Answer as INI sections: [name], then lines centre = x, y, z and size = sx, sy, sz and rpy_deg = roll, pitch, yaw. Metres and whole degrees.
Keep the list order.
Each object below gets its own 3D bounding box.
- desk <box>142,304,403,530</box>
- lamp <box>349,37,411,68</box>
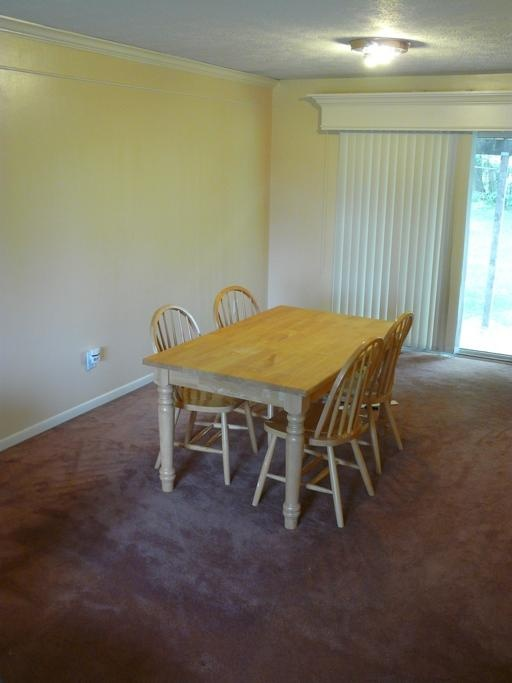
[desk]
centre = 0.191, 0.293, 2.830
size = 0.806, 0.674, 1.397
rpy_deg = 10, 19, 28
[lamp]
centre = 0.684, -1.616, 2.799
size = 0.316, 0.077, 0.423
rpy_deg = 5, 12, 18
